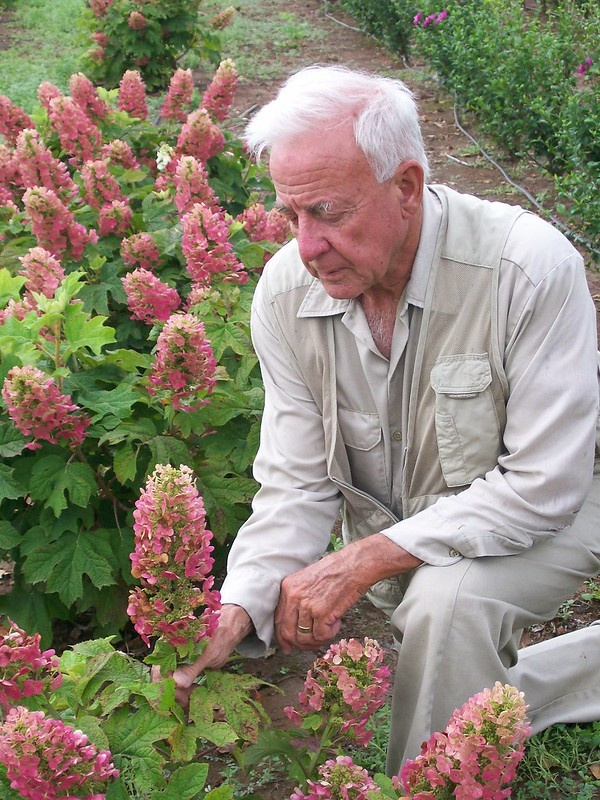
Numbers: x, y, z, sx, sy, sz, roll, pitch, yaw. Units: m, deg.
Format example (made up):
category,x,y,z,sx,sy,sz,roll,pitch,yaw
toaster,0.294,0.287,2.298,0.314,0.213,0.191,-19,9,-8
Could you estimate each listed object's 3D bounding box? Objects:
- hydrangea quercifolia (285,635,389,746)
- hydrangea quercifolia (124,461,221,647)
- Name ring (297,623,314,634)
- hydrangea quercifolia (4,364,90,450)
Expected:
category,x,y,z,sx,sy,sz,roll,pitch,yaw
hydrangea quercifolia,0.099,0.637,1.665,0.154,0.300,0.146,26,33,37
hydrangea quercifolia,-0.255,0.348,1.568,0.185,0.502,0.165,1,27,-7
Name ring,0.009,0.601,2.022,0.033,0.017,0.030,-1,-6,4
hydrangea quercifolia,-0.756,0.029,2.298,0.234,0.346,0.261,-2,26,-14
